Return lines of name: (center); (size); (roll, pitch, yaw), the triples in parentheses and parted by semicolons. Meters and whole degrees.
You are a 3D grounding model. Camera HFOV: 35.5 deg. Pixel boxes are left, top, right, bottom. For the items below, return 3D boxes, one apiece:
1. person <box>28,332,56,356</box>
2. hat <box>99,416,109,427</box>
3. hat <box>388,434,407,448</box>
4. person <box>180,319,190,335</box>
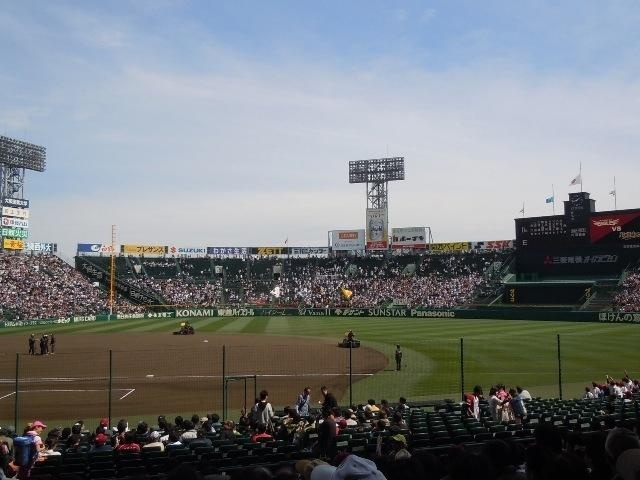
person: (-23.165, 8.648, 83.065); (1.801, 1.255, 0.700); (3, -15, -14)
hat: (-13.409, 11.256, 61.893); (0.503, 0.476, 1.241); (1, -3, -7)
hat: (4.361, 11.283, 56.200); (0.823, 0.696, 0.923); (0, 2, 6)
person: (-12.784, 8.412, 94.678); (1.044, 0.860, 1.454); (-2, -15, -5)
